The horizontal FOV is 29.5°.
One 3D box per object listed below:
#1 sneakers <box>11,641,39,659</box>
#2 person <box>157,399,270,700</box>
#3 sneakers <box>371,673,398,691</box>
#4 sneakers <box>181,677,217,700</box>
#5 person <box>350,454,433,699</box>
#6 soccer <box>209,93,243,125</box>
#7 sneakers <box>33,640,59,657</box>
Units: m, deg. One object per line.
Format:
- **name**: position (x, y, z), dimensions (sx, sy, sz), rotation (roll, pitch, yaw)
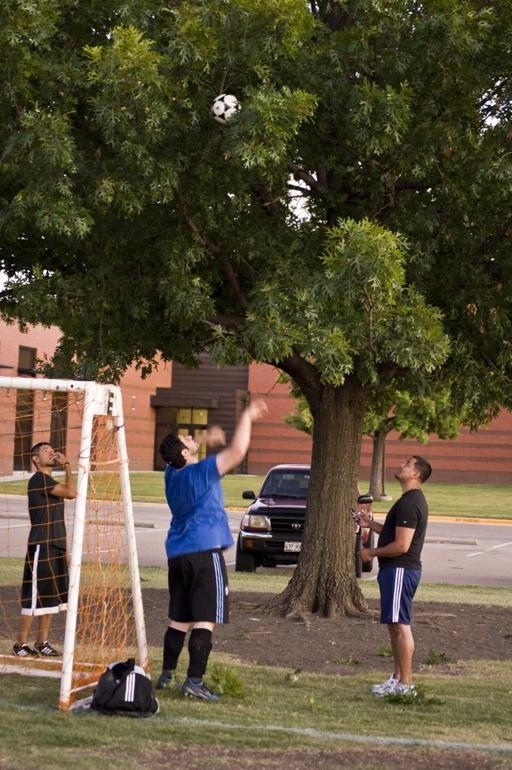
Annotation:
- **sneakers**: position (-1.661, 1.888, 6.924), dimensions (0.177, 0.069, 0.096), rotation (4, 2, 19)
- **person**: position (-0.324, 1.005, 5.974), dimensions (0.589, 1.824, 0.912), rotation (3, -2, -7)
- **sneakers**: position (0.840, 1.964, 6.391), dimensions (0.083, 0.092, 0.214), rotation (8, -11, -34)
- **sneakers**: position (-0.345, 1.837, 5.877), dimensions (0.219, 0.133, 0.141), rotation (3, -3, -5)
- **person**: position (0.905, 1.255, 6.453), dimensions (0.427, 1.573, 0.861), rotation (2, -2, 10)
- **soccer**: position (-0.236, -2.137, 7.486), dimensions (0.269, 0.205, 0.089), rotation (0, -3, 38)
- **sneakers**: position (-1.533, 1.921, 7.073), dimensions (0.199, 0.088, 0.081), rotation (3, -3, 14)
